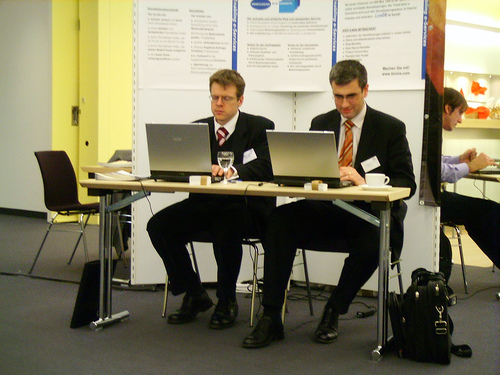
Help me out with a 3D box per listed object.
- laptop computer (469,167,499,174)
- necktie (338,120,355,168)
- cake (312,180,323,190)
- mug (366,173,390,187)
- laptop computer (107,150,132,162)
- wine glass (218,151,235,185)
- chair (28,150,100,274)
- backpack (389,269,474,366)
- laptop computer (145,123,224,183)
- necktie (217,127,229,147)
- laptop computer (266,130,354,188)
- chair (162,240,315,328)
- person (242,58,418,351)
[{"bbox_3d":[2.082,-0.146,4.067,0.220,0.060,0.095,0,6,-3],"label":"laptop computer"},{"bbox_3d":[0.672,-0.282,3.256,0.096,0.451,0.032,6,-23,9],"label":"necktie"},{"bbox_3d":[0.382,-0.024,2.603,0.037,0.074,0.073,0,1,22],"label":"cake"},{"bbox_3d":[0.761,-0.045,2.736,0.111,0.087,0.097,1,1,-4],"label":"mug"},{"bbox_3d":[-1.382,-0.335,4.869,0.228,0.112,0.254,-1,6,-19],"label":"laptop computer"},{"bbox_3d":[-0.153,-0.127,2.911,0.099,0.201,0.221,0,5,-3],"label":"wine glass"},{"bbox_3d":[-1.796,0.246,4.724,0.734,1.269,0.745,-1,4,-3],"label":"chair"},{"bbox_3d":[1.034,0.761,2.855,0.399,0.600,0.550,-3,2,-40],"label":"backpack"},{"bbox_3d":[-0.517,-0.138,3.003,0.478,0.379,0.449,0,-28,-20],"label":"laptop computer"},{"bbox_3d":[-0.206,-0.382,3.426,0.087,0.121,0.031,40,1,4],"label":"necktie"},{"bbox_3d":[0.366,-0.262,2.824,0.465,0.352,0.445,-3,29,15],"label":"laptop computer"},{"bbox_3d":[-0.058,0.629,3.453,1.092,0.588,0.982,1,6,8],"label":"chair"},{"bbox_3d":[0.533,0.074,3.079,1.175,1.990,0.901,10,-8,-43],"label":"person"}]
